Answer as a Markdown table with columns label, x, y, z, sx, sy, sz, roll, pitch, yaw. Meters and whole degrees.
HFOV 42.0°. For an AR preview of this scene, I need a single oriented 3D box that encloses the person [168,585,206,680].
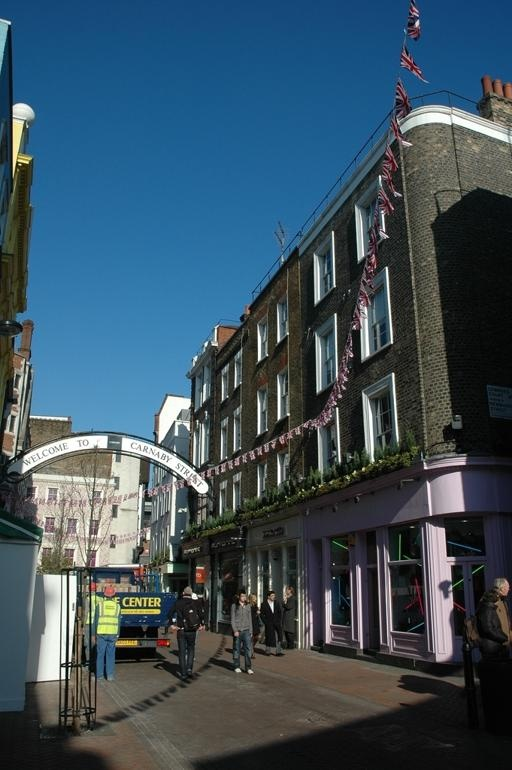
| label | x | y | z | sx | sy | sz | roll | pitch | yaw |
| --- | --- | --- | --- | --- | --- | --- | --- | --- | --- |
| person | -1.325 | 4.693 | 12.820 | 0.565 | 1.605 | 1.165 | 1 | -17 | -9 |

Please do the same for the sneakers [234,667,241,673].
| label | x | y | z | sx | sy | sz | roll | pitch | yaw |
| --- | --- | --- | --- | --- | --- | --- | --- | --- | --- |
| sneakers | -0.371 | 5.693 | 13.429 | 0.089 | 0.077 | 0.170 | 4 | -20 | -12 |

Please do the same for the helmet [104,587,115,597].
| label | x | y | z | sx | sy | sz | roll | pitch | yaw |
| --- | --- | --- | --- | --- | --- | --- | --- | --- | --- |
| helmet | -2.836 | 3.960 | 12.915 | 0.197 | 0.162 | 0.297 | 3 | -18 | -7 |

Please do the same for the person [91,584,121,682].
| label | x | y | z | sx | sy | sz | roll | pitch | yaw |
| --- | --- | --- | --- | --- | --- | --- | --- | --- | --- |
| person | -2.726 | 4.507 | 12.203 | 0.397 | 1.612 | 1.591 | 2 | -17 | -11 |

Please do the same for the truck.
| label | x | y | z | sx | sy | sz | roll | pitch | yaw |
| --- | --- | --- | --- | --- | --- | --- | --- | --- | --- |
| truck | -2.987 | 5.246 | 16.372 | 1.679 | 0.846 | 1.080 | -31 | -35 | 13 |
